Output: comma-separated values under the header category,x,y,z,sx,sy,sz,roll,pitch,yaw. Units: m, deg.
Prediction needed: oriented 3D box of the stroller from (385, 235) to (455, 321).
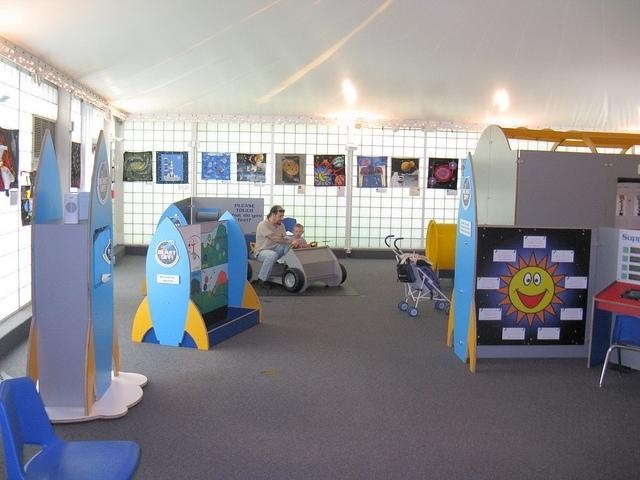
category,x,y,z,sx,sy,sz,roll,pitch,yaw
stroller,1.588,0.529,7.635,0.879,1.258,0.681,-3,8,-1

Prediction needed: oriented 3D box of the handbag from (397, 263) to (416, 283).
category,x,y,z,sx,sy,sz,roll,pitch,yaw
handbag,1.314,0.517,7.505,0.257,0.432,0.271,-5,1,16
